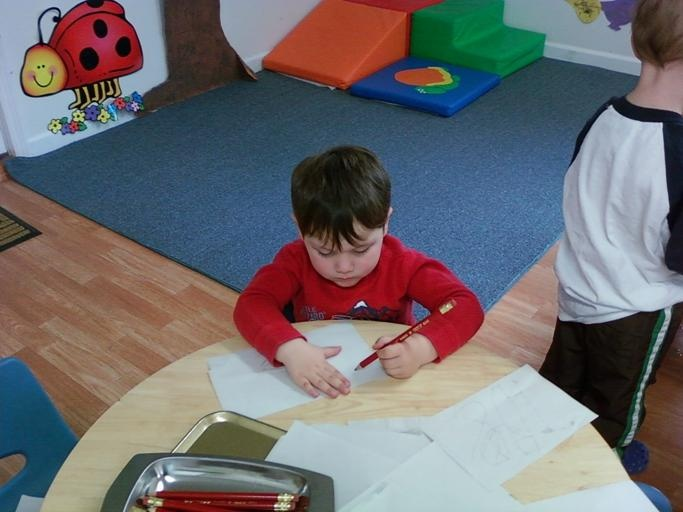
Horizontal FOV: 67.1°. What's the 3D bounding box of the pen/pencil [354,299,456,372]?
[{"bbox_3d":[0.113,0.147,0.934,0.195,0.018,0.026,-29,-4,-15],"label":"pen/pencil"}]
